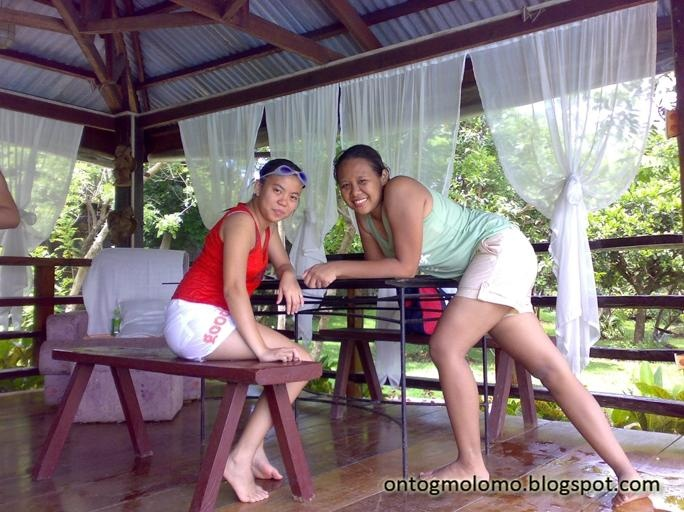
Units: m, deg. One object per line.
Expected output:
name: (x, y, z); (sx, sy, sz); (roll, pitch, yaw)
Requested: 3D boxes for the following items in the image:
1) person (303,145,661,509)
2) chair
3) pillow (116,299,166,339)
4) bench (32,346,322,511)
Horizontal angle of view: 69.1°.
person: (0.590, 0.329, 2.205); (1.335, 1.383, 0.307); (-1, -3, 4)
chair: (-1.441, 0.601, 4.121); (1.072, 1.480, 1.433); (0, -12, -2)
pillow: (-1.526, 0.466, 3.784); (0.365, 0.256, 0.379); (0, -3, -16)
bench: (-0.711, 0.735, 2.220); (1.367, 0.613, 0.459); (-2, -4, 32)
